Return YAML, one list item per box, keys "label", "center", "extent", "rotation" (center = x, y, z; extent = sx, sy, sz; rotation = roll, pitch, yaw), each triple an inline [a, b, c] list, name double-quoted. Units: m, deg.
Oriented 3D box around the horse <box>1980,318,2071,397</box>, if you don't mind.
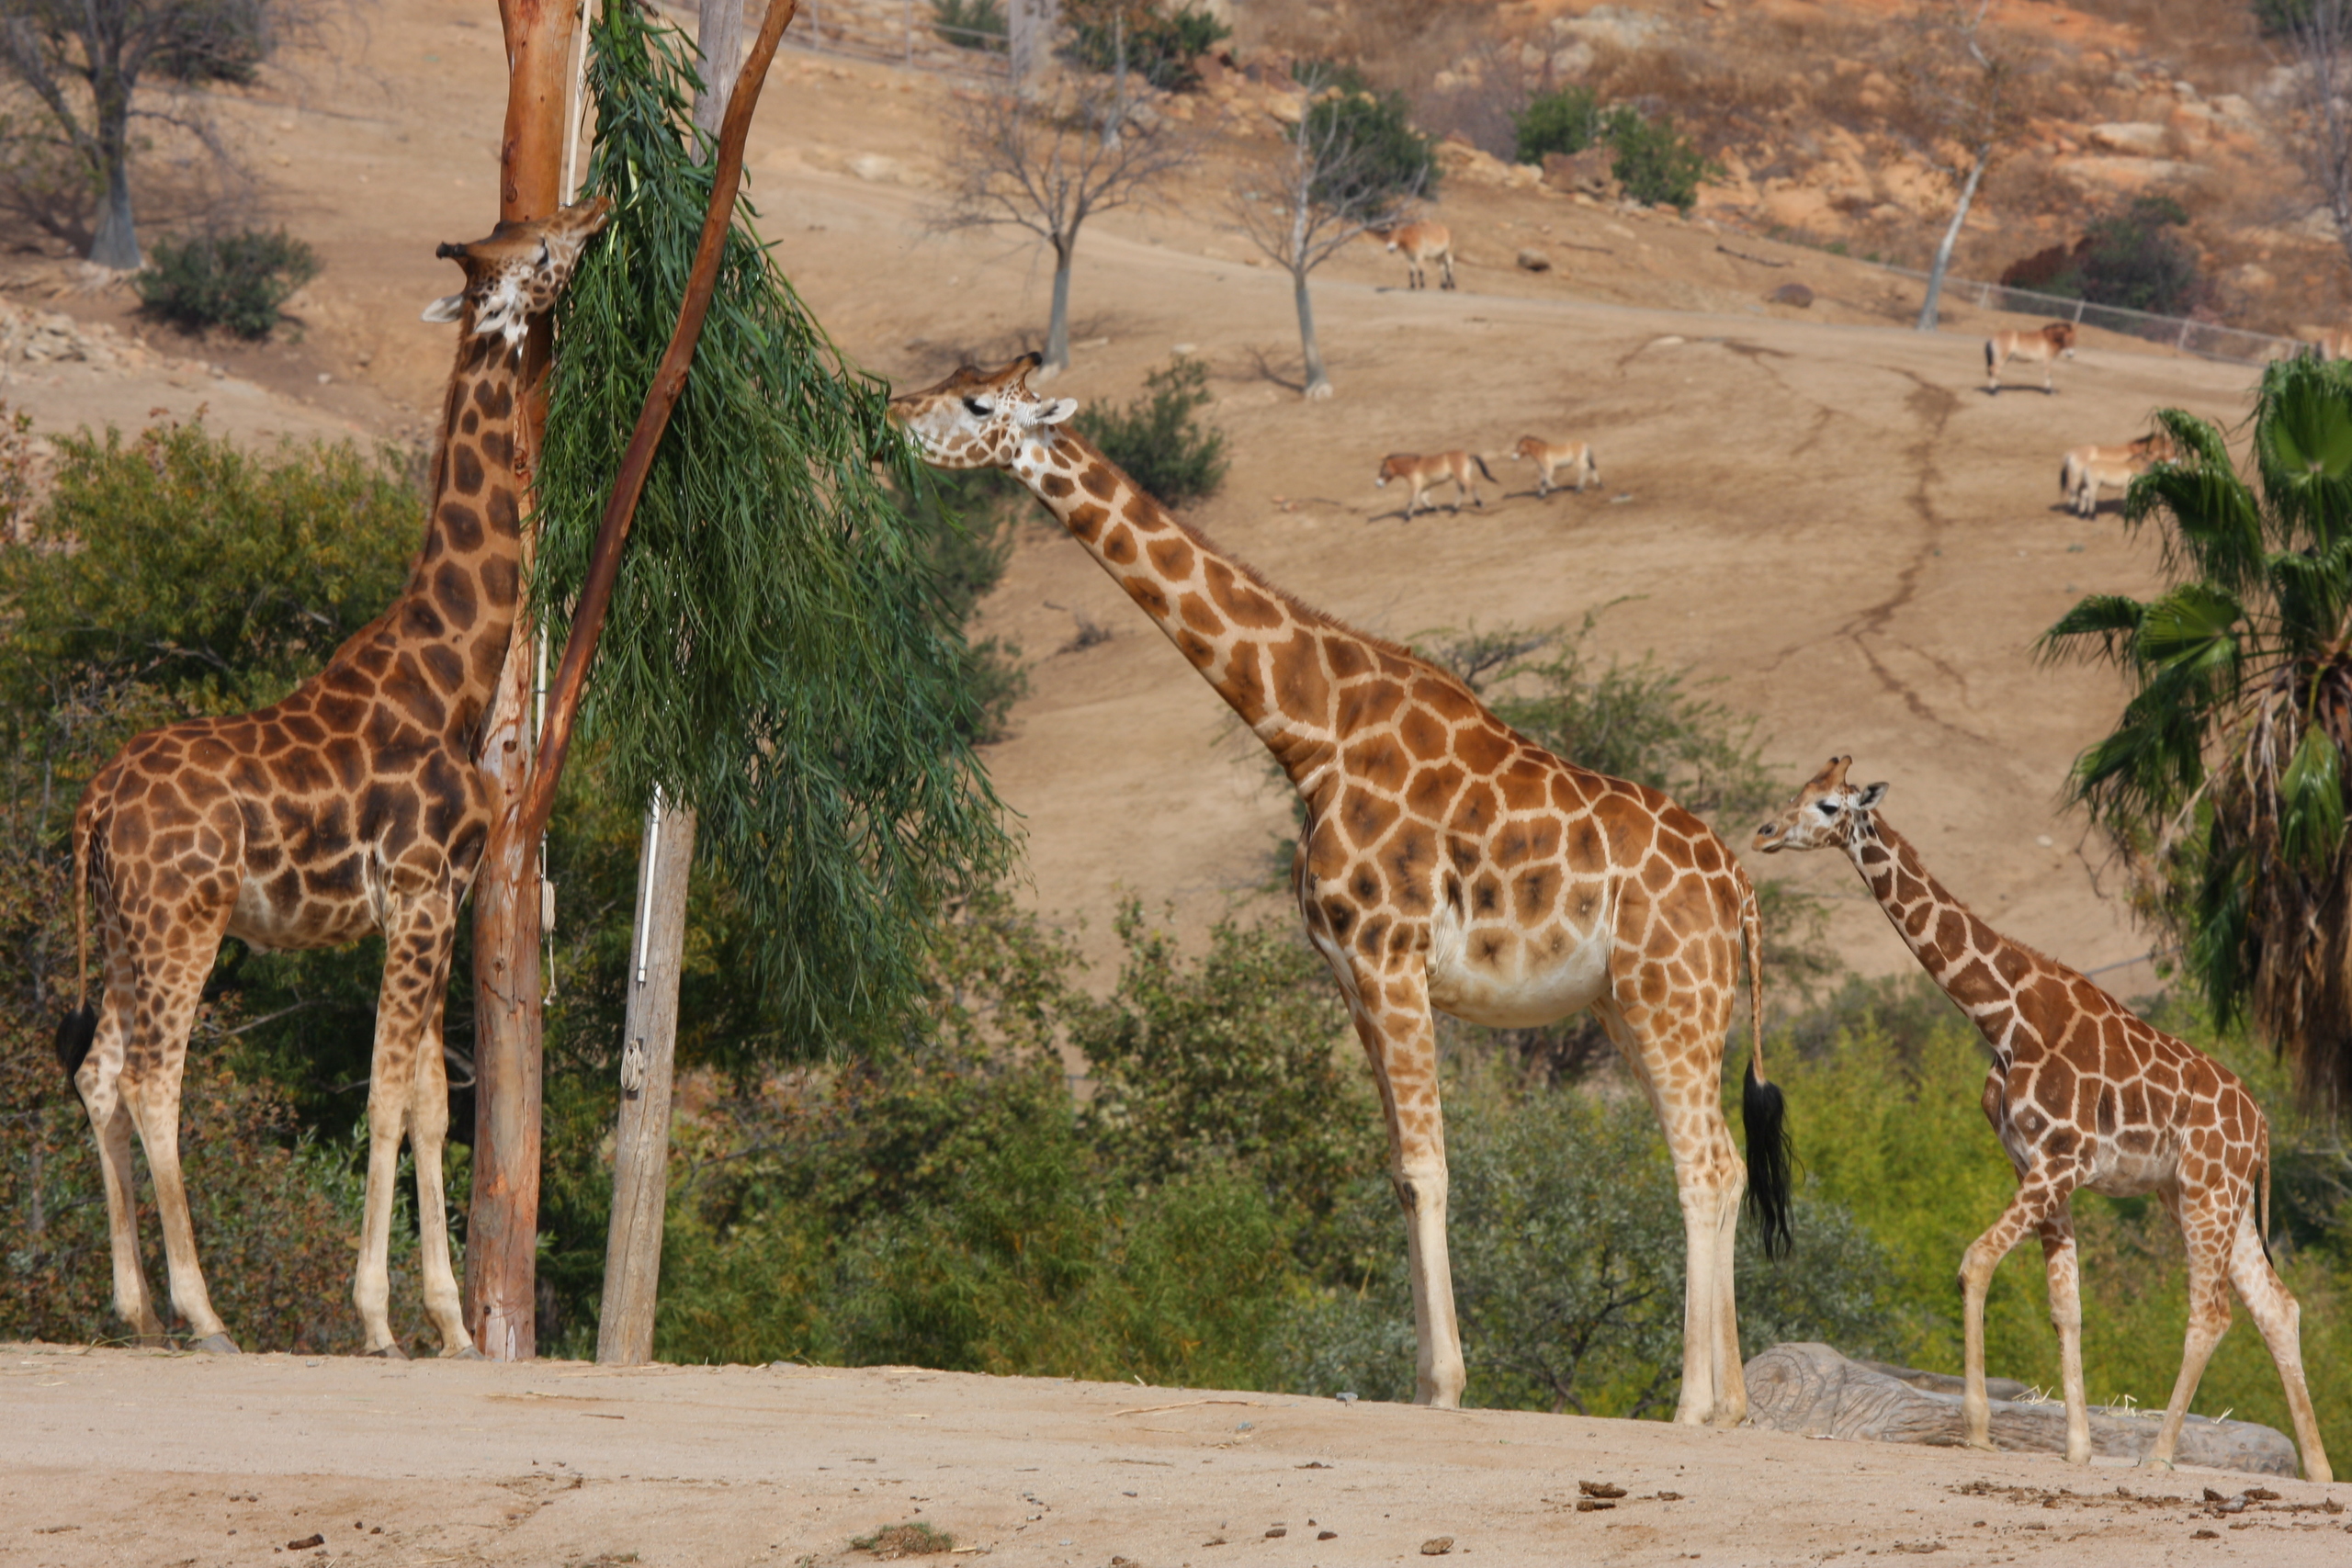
- label: "horse"
  center: [18.714, -9.420, 95.611]
  extent: [1.753, 1.562, 3.719]
  rotation: [4, 8, 11]
